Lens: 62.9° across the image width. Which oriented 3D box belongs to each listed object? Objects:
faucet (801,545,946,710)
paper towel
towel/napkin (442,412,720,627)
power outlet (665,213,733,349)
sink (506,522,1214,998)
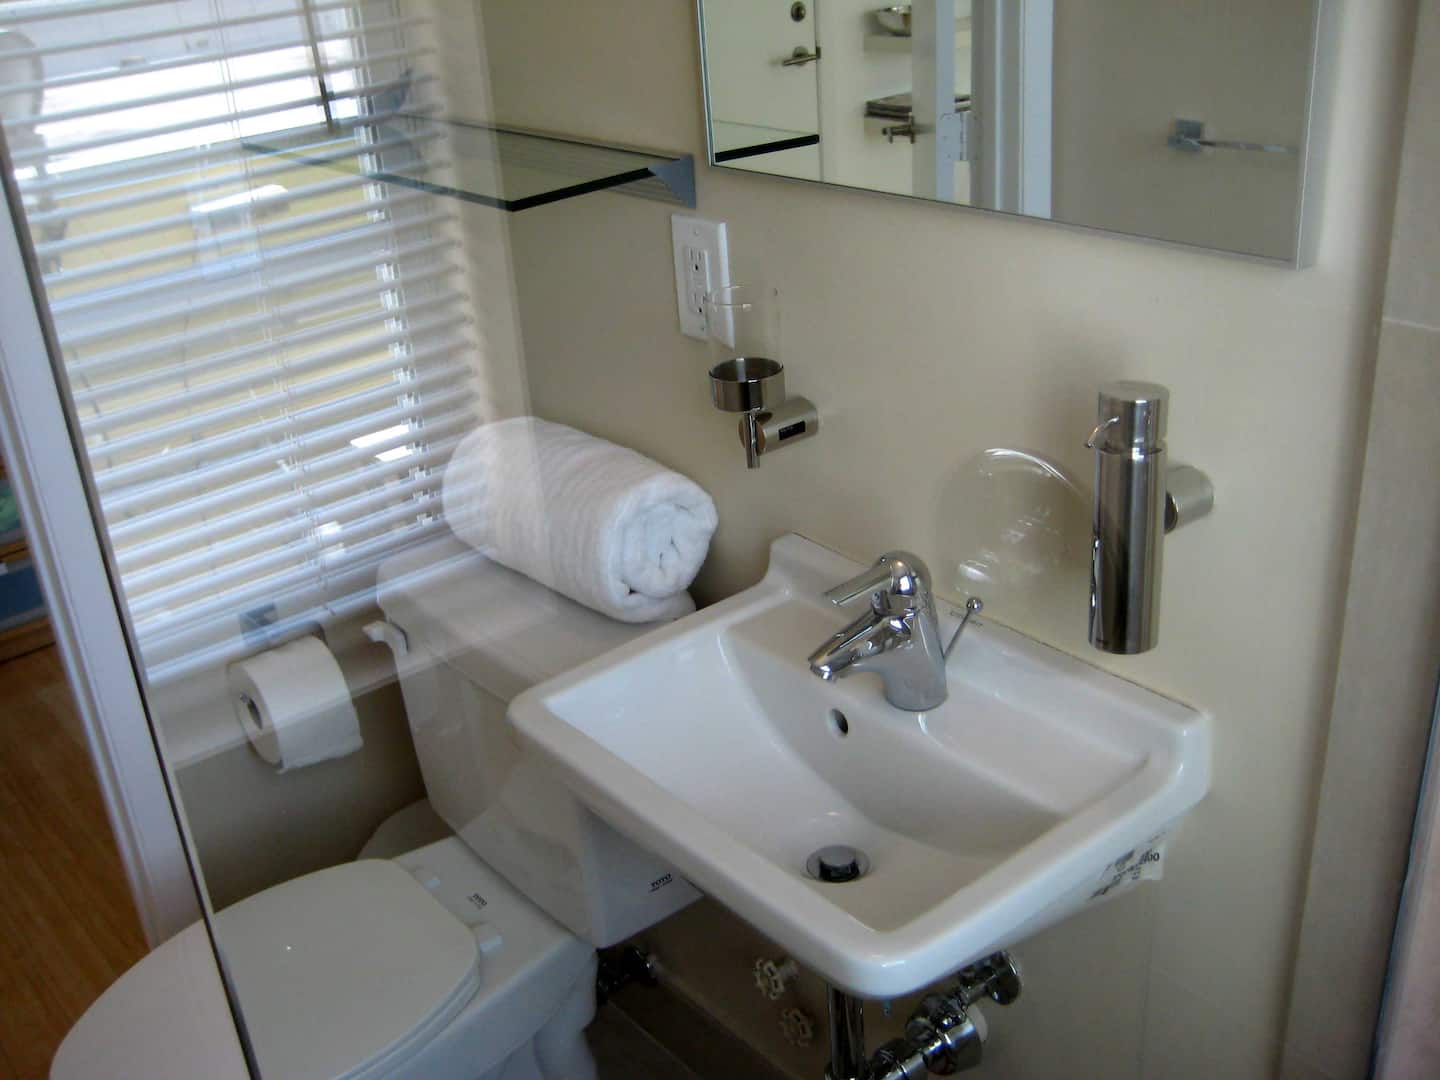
[{"bbox_3d":[0.171,0.112,1.279,0.176,0.193,0.088,-27,36,-23],"label":"faucet"},{"bbox_3d":[-0.394,0.157,1.098,0.084,0.131,0.077,25,35,35],"label":"paper towel"},{"bbox_3d":[-0.159,-0.030,1.330,0.284,0.180,0.203,22,12,39],"label":"towel/napkin"},{"bbox_3d":[-0.020,-0.336,1.509,0.047,0.163,0.092,-27,41,-37],"label":"power outlet"},{"bbox_3d":[0.138,0.255,1.251,0.433,0.263,0.617,-21,33,-36],"label":"sink"}]
